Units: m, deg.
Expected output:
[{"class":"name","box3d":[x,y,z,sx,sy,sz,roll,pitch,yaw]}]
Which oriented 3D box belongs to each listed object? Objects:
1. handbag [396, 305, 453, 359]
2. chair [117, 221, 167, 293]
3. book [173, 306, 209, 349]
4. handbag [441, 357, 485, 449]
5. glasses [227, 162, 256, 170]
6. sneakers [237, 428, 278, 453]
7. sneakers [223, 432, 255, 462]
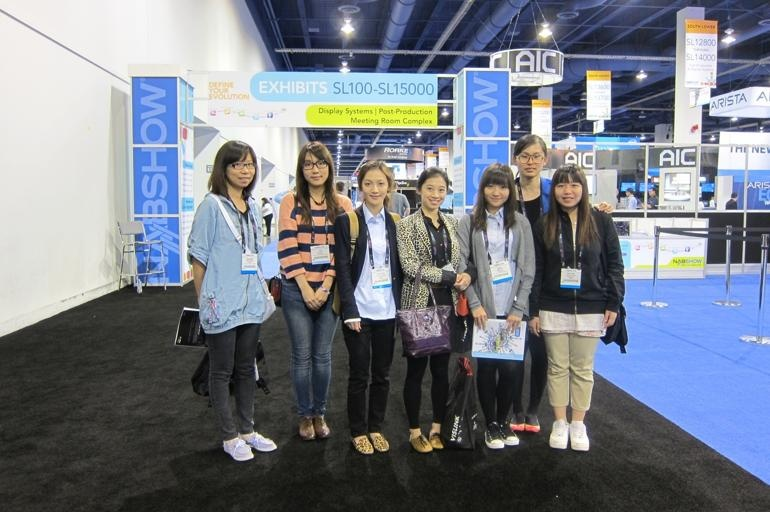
[{"class":"handbag","box3d":[0.261,0.470,3.355,0.329,0.313,0.118,-4,-9,-13]},{"class":"chair","box3d":[-3.705,-0.024,8.116,0.609,1.103,0.794,2,11,4]},{"class":"book","box3d":[-1.268,0.468,3.519,0.200,0.253,0.088,4,-1,-7]},{"class":"handbag","box3d":[0.524,1.000,3.541,0.308,0.633,0.506,7,-10,-1]},{"class":"glasses","box3d":[-0.899,-0.574,3.374,0.157,0.043,0.049,-6,13,-30]},{"class":"sneakers","box3d":[-0.829,1.225,3.557,0.266,0.105,0.104,9,5,-1]},{"class":"sneakers","box3d":[-0.949,1.242,3.444,0.108,0.098,0.226,-11,3,-45]}]
